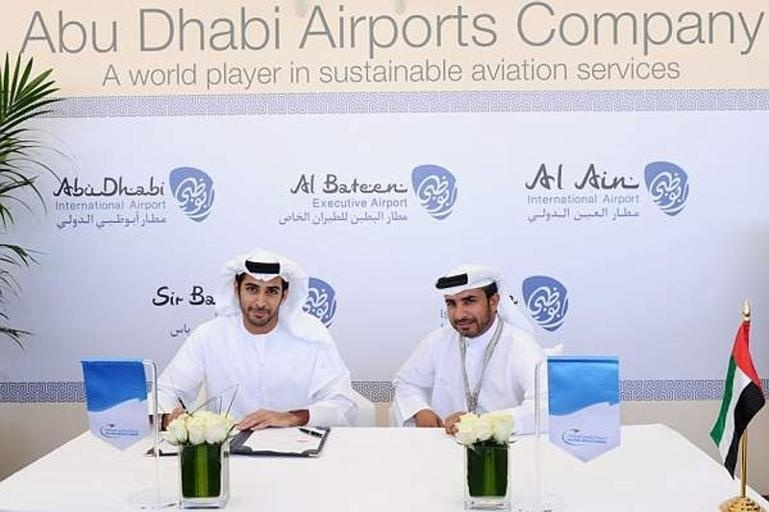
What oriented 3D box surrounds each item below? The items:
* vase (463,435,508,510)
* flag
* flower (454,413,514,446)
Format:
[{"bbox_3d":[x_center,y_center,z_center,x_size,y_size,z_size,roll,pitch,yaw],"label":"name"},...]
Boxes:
[{"bbox_3d":[0.493,1.084,4.158,0.267,0.402,0.283,-1,-2,7],"label":"vase"},{"bbox_3d":[1.697,0.661,3.990,0.234,0.821,0.302,-1,-1,24],"label":"flag"},{"bbox_3d":[0.484,0.816,3.991,0.195,0.111,0.183,-2,0,6],"label":"flower"}]
